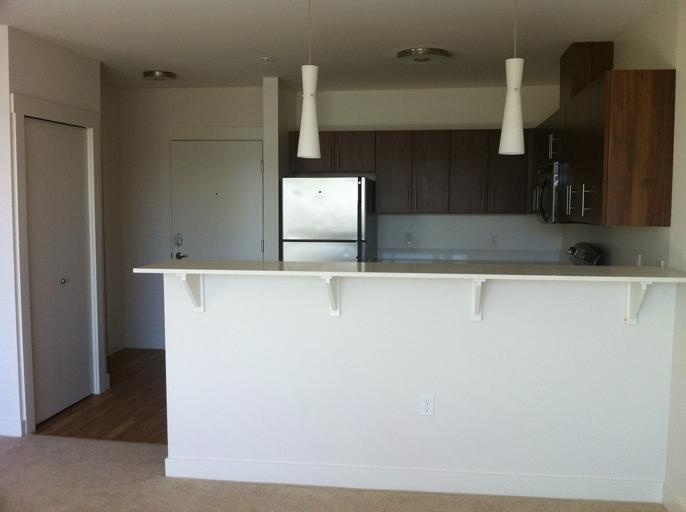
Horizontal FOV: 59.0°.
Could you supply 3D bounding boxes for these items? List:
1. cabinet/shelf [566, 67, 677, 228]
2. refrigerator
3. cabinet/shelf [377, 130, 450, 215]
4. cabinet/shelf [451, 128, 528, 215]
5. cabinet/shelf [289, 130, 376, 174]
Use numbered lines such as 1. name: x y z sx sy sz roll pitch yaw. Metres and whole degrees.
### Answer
1. cabinet/shelf: 1.831 -0.688 3.933 0.330 0.725 1.128 0 4 9
2. refrigerator: -0.130 -0.305 5.840 0.745 1.197 0.762 1 -3 7
3. cabinet/shelf: 0.712 -0.841 5.961 0.754 0.895 0.331 0 2 4
4. cabinet/shelf: 1.442 -0.808 6.039 0.766 0.848 0.297 1 -7 11
5. cabinet/shelf: -0.098 -1.125 6.158 0.854 0.449 0.313 -1 34 -2
